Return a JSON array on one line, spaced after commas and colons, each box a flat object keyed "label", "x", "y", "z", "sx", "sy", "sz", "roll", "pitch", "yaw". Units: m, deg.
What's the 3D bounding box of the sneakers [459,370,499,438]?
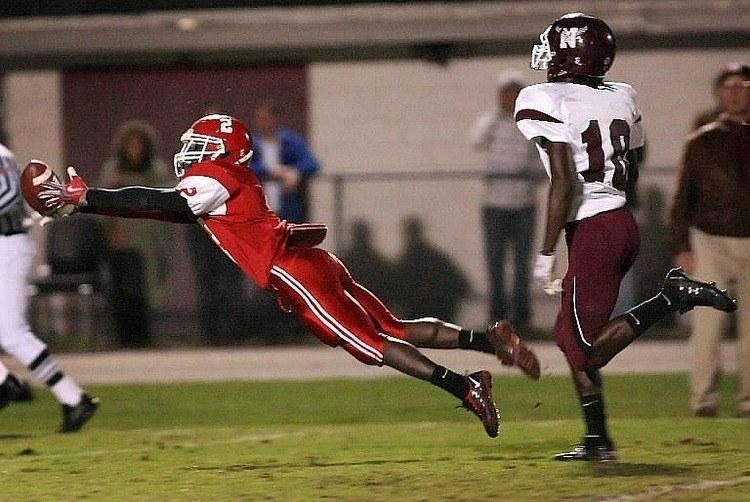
[{"label": "sneakers", "x": 0.685, "y": 0.952, "z": 8.532, "sx": 0.238, "sy": 0.420, "sz": 0.233, "roll": 4, "pitch": 14, "yaw": 19}]

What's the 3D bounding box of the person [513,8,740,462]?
[{"label": "person", "x": 1.431, "y": -0.078, "z": 8.506, "sx": 1.094, "sy": 2.721, "sz": 0.828, "roll": 0, "pitch": 14, "yaw": 5}]

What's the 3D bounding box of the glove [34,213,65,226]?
[{"label": "glove", "x": -2.275, "y": -0.222, "z": 9.596, "sx": 0.158, "sy": 0.042, "sz": 0.151, "roll": -2, "pitch": -2, "yaw": -22}]

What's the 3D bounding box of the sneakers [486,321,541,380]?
[{"label": "sneakers", "x": 0.892, "y": 0.620, "z": 8.771, "sx": 0.208, "sy": 0.449, "sz": 0.230, "roll": -36, "pitch": -32, "yaw": -12}]

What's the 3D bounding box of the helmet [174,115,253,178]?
[{"label": "helmet", "x": -0.979, "y": -0.678, "z": 8.734, "sx": 0.510, "sy": 0.333, "sz": 0.379, "roll": 2, "pitch": 4, "yaw": 0}]

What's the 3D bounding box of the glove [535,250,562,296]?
[{"label": "glove", "x": 1.070, "y": 0.133, "z": 8.508, "sx": 0.204, "sy": 0.229, "sz": 0.124, "roll": -5, "pitch": 18, "yaw": 26}]
